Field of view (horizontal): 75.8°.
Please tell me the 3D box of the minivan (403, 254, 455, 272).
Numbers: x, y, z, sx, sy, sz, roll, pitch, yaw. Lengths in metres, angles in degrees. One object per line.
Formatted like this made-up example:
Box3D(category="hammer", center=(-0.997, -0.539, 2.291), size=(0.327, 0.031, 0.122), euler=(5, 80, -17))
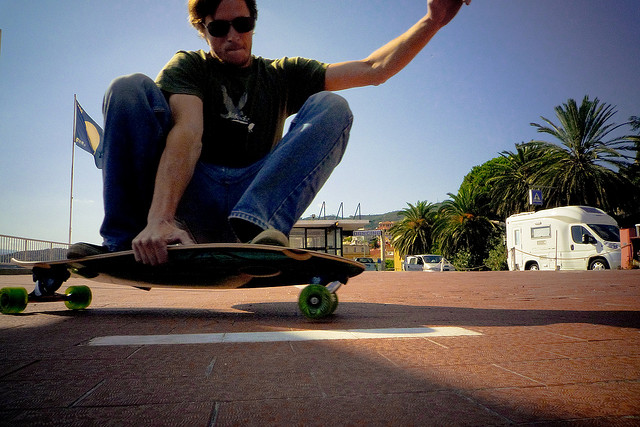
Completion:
Box3D(category="minivan", center=(8.109, 3.828, 32.154), size=(1.770, 1.415, 4.381), euler=(-1, -12, -10))
